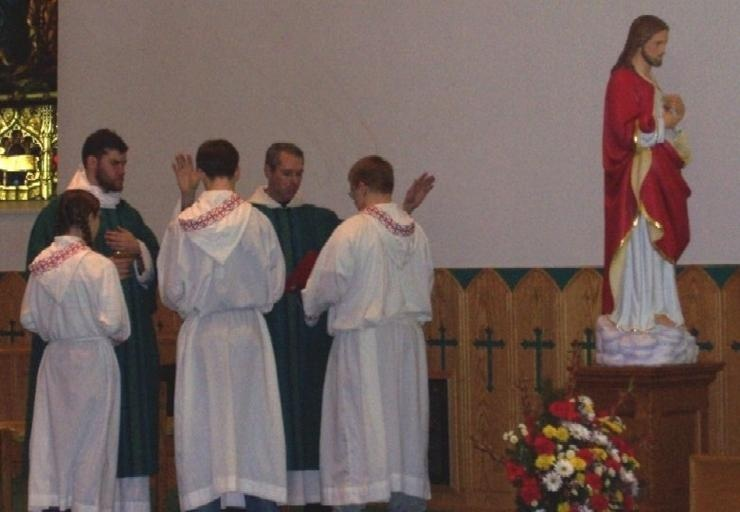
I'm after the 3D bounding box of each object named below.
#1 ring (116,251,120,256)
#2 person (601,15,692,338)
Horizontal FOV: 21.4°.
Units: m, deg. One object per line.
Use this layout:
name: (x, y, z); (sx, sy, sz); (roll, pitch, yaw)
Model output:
ring: (-1.943, -0.048, 14.916); (0.032, 0.029, 0.007); (4, -29, 0)
person: (2.053, -0.640, 14.686); (0.689, 2.332, 0.296); (-2, -7, 7)
